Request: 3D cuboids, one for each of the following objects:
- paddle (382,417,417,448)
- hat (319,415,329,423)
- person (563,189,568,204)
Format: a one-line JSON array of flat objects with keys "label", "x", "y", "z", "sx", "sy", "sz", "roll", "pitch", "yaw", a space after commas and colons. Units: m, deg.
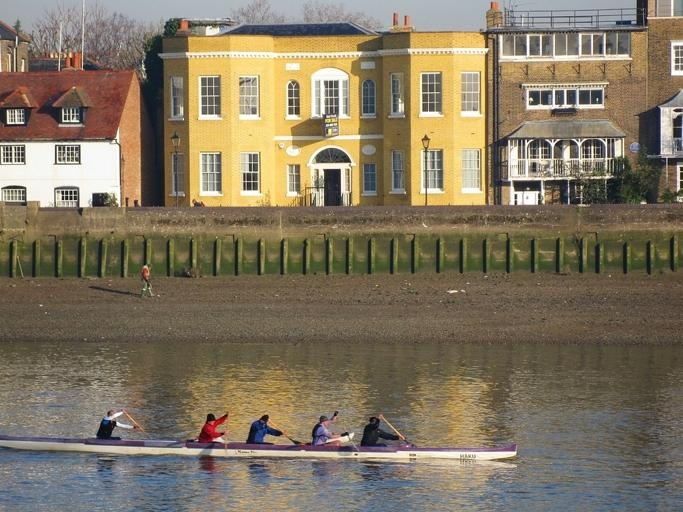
[{"label": "paddle", "x": 2.611, "y": 8.142, "z": 97.794, "sx": 0.235, "sy": 1.630, "sz": 0.396, "roll": -44, "pitch": 5, "yaw": 38}, {"label": "hat", "x": -0.871, "y": 7.463, "z": 96.992, "sx": 0.358, "sy": 0.340, "sz": 0.275, "roll": -19, "pitch": 31, "yaw": 1}, {"label": "person", "x": 13.378, "y": -3.607, "z": 126.654, "sx": 0.277, "sy": 0.812, "sz": 0.563, "roll": -2, "pitch": 1, "yaw": -19}]
